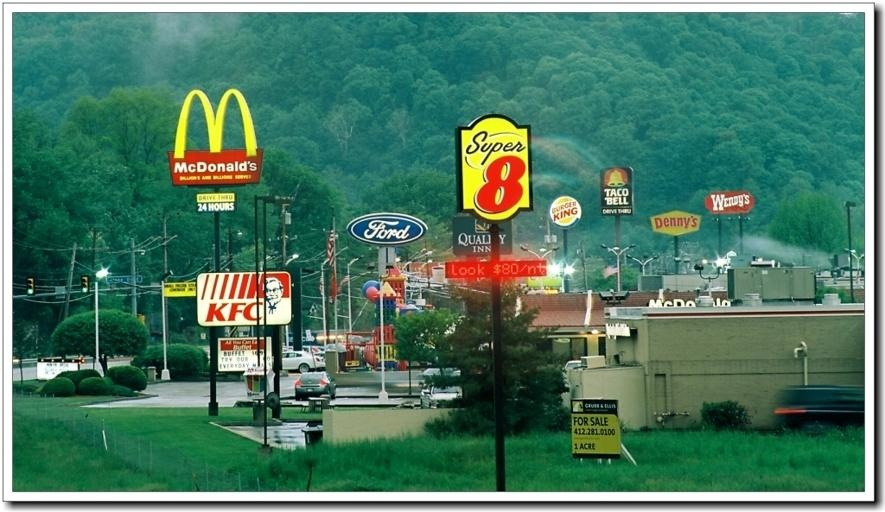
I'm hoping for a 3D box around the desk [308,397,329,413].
[{"bbox_3d":[-19.933,23.331,207.276,3.252,1.807,3.082,1,-5,-11],"label":"desk"}]

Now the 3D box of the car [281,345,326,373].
[{"bbox_3d":[-24.699,18.495,231.847,7.893,2.354,3.497,2,-1,2],"label":"car"}]
